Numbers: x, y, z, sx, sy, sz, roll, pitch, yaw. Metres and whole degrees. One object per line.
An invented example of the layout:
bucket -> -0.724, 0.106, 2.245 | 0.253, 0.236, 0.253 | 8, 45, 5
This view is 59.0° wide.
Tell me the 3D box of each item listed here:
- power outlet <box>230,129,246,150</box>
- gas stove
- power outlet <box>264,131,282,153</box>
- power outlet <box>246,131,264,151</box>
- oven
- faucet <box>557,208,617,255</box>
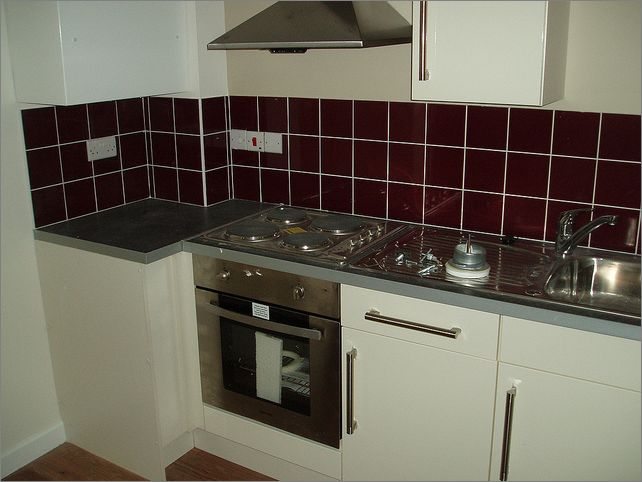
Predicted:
power outlet -> -0.454, -0.554, 3.075 | 0.107, 0.110, 0.008 | 8, 13, 25
gas stove -> -0.078, -0.047, 2.635 | 0.795, 0.113, 0.623 | 9, 14, 26
power outlet -> -0.251, -0.524, 2.970 | 0.101, 0.100, 0.010 | 12, 27, 30
power outlet -> -0.353, -0.540, 3.024 | 0.092, 0.092, 0.013 | 15, 27, 31
oven -> -0.150, 0.527, 2.654 | 0.704, 0.576, 0.521 | 6, 13, 25
faucet -> 1.079, -0.041, 2.298 | 0.219, 0.210, 0.191 | 9, 13, 27
